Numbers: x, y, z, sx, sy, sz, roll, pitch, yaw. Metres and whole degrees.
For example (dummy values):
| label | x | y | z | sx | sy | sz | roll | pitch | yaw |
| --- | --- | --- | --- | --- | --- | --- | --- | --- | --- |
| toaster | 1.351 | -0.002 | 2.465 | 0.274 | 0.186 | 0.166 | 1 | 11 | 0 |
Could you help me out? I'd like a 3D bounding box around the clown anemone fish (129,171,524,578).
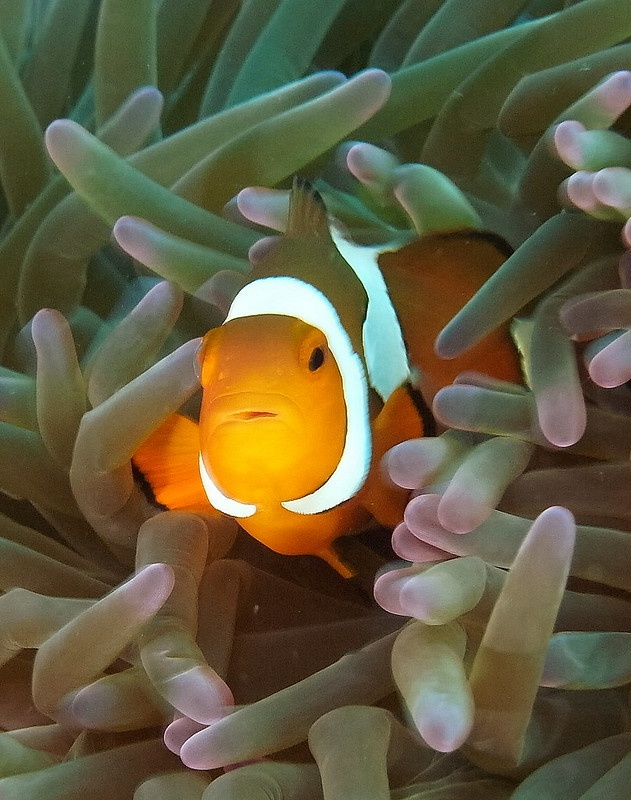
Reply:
| label | x | y | z | sx | sy | sz | roll | pitch | yaw |
| --- | --- | --- | --- | --- | --- | --- | --- | --- | --- |
| clown anemone fish | -0.021 | 0.025 | 0.873 | 0.348 | 0.275 | 0.458 | -9 | -2 | 18 |
